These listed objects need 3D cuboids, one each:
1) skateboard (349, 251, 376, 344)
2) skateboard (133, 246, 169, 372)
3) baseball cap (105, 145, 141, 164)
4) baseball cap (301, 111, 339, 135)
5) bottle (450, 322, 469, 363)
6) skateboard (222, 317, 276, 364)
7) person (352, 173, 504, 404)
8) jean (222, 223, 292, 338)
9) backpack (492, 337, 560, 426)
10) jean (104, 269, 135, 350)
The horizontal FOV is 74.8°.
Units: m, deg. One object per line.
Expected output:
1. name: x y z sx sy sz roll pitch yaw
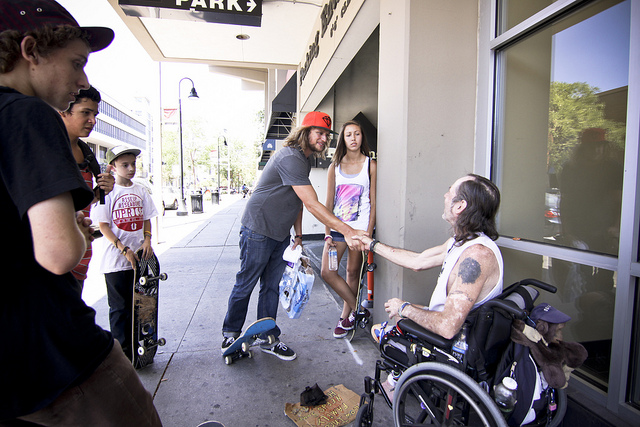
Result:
1. skateboard: 0.468 0.839 4.808 0.177 1.334 0.167 0 10 -24
2. skateboard: -1.760 0.970 4.259 0.267 1.206 0.172 0 2 -1
3. baseball cap: -2.053 -0.581 4.275 0.291 0.106 0.207 -20 2 20
4. baseball cap: -0.032 -0.950 4.467 0.271 0.165 0.194 16 9 15
5. bottle: 0.971 0.906 2.929 0.108 0.254 0.116 -1 11 0
6. skateboard: -0.739 1.329 4.328 0.268 0.778 0.146 11 40 -37
7. person: 0.916 0.708 3.340 0.987 2.016 0.803 5 13 31
8. jean: -0.672 0.698 4.392 0.737 1.126 0.278 -4 11 -13
9. backpack: 1.431 1.174 2.898 0.544 0.619 0.179 -6 12 -22
10. jean: -1.888 0.906 3.959 0.178 0.817 0.112 -3 0 -39
